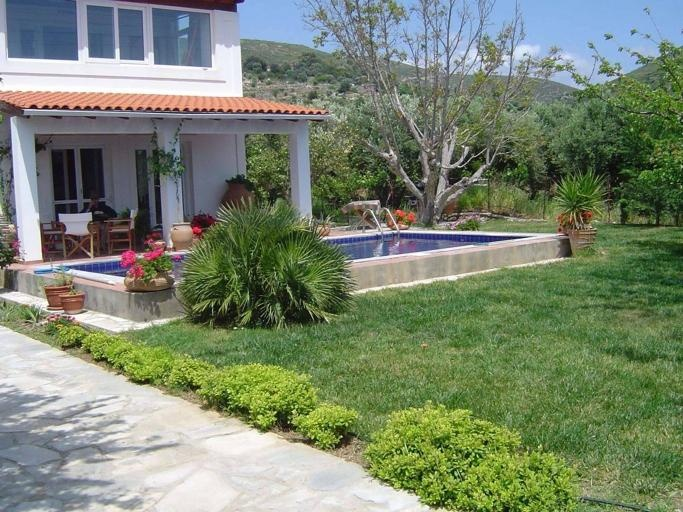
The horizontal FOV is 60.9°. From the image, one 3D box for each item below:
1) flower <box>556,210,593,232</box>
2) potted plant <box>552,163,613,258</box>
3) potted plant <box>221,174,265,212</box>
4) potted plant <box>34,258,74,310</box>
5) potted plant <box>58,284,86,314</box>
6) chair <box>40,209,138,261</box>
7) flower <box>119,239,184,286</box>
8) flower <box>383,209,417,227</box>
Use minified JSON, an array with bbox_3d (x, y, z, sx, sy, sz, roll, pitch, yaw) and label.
[{"bbox_3d":[5.947,-0.883,14.660,0.436,0.706,0.586,1,8,-37],"label":"flower"},{"bbox_3d":[6.120,-1.092,14.755,1.120,2.105,1.488,-1,5,22],"label":"potted plant"},{"bbox_3d":[-3.095,-1.958,17.306,0.968,1.020,1.224,-4,4,-13],"label":"potted plant"},{"bbox_3d":[-5.076,0.650,10.355,0.512,0.822,0.550,-9,-12,24],"label":"potted plant"},{"bbox_3d":[-4.705,0.766,10.130,0.401,0.465,0.400,-2,5,-39],"label":"potted plant"},{"bbox_3d":[-6.439,-0.538,14.814,2.102,1.073,2.891,-5,5,-27],"label":"chair"},{"bbox_3d":[-3.061,0.213,9.566,0.920,0.734,0.937,5,4,-2],"label":"flower"},{"bbox_3d":[2.003,-1.277,19.868,0.950,0.585,1.006,1,0,3],"label":"flower"}]
